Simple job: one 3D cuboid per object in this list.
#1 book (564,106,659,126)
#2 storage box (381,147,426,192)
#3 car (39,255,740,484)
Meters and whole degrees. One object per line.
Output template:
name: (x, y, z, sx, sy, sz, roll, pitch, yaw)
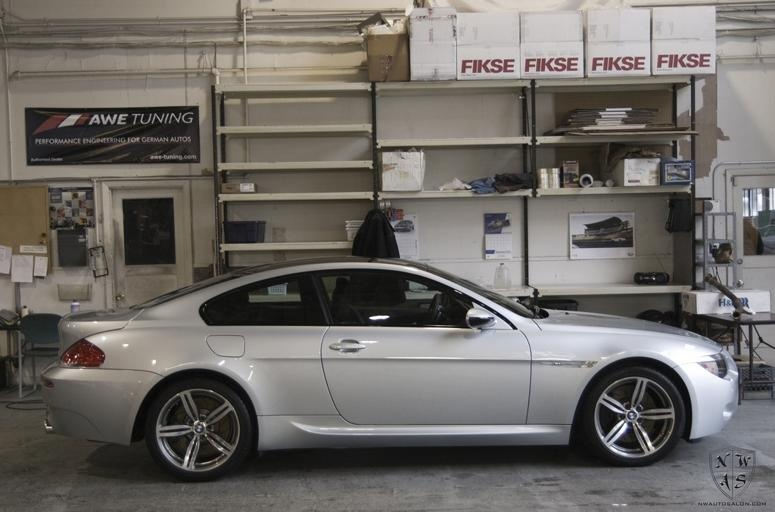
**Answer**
book: (2.827, -1.778, 12.397, 1.156, 0.246, 0.305, -2, 4, 1)
storage box: (0.289, -1.112, 12.470, 0.622, 0.537, 0.383, 1, 4, 34)
car: (0.075, 1.081, 10.607, 6.449, 1.656, 2.621, -1, -2, -2)
